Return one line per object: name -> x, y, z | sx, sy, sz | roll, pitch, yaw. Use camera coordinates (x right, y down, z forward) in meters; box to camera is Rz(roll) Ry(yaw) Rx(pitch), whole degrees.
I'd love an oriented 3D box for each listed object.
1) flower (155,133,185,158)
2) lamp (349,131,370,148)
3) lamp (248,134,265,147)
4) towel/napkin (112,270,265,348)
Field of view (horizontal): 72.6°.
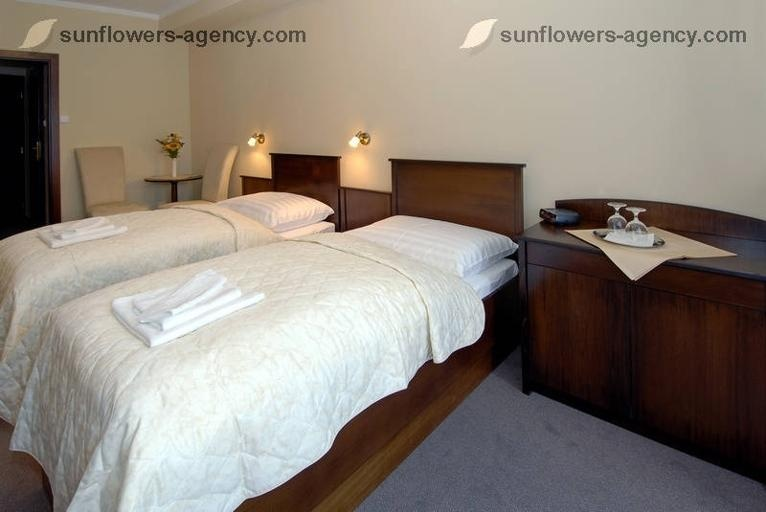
flower -> -2.443, -1.278, 6.092 | 0.296, 0.276, 0.312 | 9, 4, 32
lamp -> -0.231, -0.984, 4.384 | 0.239, 0.146, 0.113 | 12, 18, 36
lamp -> -1.323, -1.187, 5.331 | 0.106, 0.144, 0.311 | -12, 19, -38
towel/napkin -> -1.004, 0.236, 2.697 | 0.686, 0.209, 0.457 | -11, 19, -35
